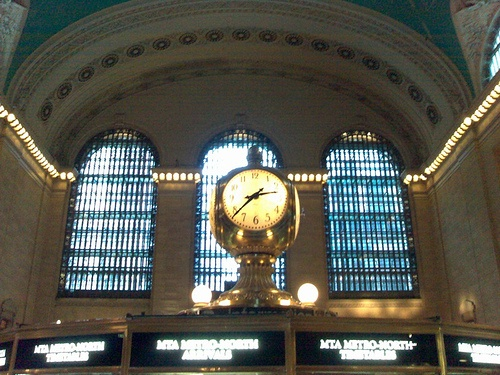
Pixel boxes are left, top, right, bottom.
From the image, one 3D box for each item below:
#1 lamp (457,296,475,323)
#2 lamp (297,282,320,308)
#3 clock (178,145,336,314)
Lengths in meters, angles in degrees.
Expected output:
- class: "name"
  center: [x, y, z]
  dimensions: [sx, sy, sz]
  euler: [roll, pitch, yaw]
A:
- class: "lamp"
  center: [5.609, 3.182, 13.858]
  dimensions: [0.263, 0.589, 1.145]
  euler: [-1, -4, 14]
- class: "lamp"
  center: [0.411, 0.751, 3.724]
  dimensions: [0.137, 0.162, 0.137]
  euler: [9, -30, -10]
- class: "clock"
  center: [0.045, 0.258, 3.572]
  dimensions: [0.975, 1.163, 0.969]
  euler: [7, -17, -26]
